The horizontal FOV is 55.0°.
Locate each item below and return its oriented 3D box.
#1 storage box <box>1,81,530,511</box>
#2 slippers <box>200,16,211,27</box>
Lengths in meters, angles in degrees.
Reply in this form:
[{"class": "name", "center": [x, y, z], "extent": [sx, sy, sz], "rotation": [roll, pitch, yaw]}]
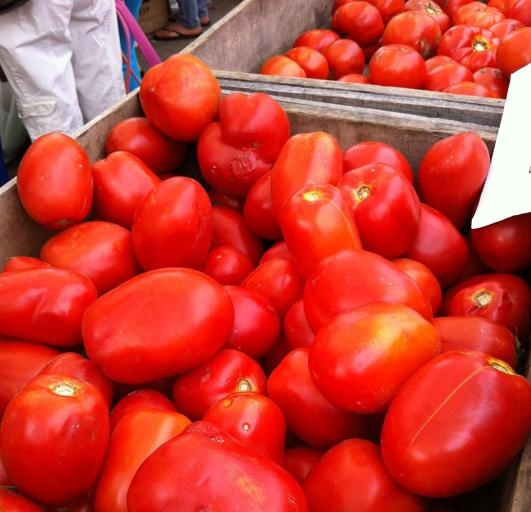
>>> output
[{"class": "storage box", "center": [0.122, 0.190, 1.182], "extent": [0.793, 0.257, 0.792], "rotation": [15, 47, 20]}, {"class": "slippers", "center": [-0.526, -2.089, 4.535], "extent": [0.090, 0.090, 0.032], "rotation": [-46, 34, -17]}]
